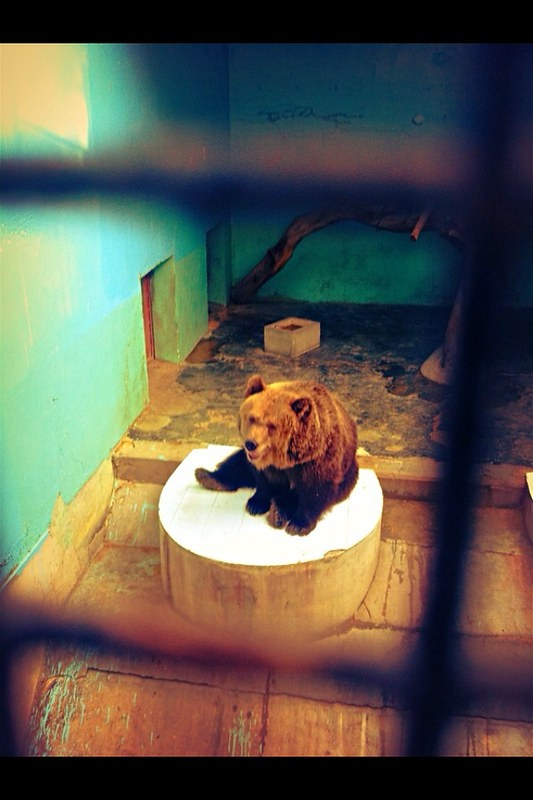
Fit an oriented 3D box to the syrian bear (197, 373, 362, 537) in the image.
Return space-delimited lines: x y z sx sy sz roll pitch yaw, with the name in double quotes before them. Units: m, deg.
"syrian bear" 0.074 0.328 3.374 0.646 0.846 0.847 23 37 34
